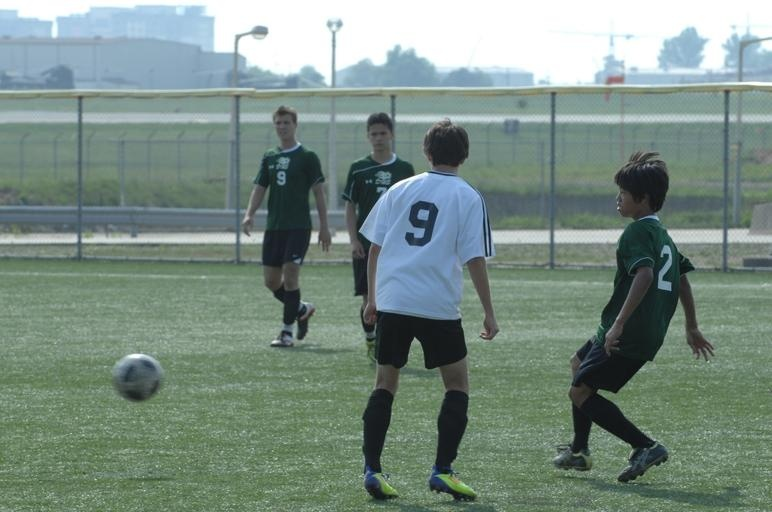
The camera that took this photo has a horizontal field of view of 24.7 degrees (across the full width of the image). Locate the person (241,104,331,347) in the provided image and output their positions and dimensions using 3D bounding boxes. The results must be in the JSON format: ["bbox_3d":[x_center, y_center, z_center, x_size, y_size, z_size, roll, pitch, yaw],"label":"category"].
[{"bbox_3d":[-1.648,-0.510,30.143,1.423,3.995,0.964,0,6,2],"label":"person"}]

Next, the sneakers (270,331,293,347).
[{"bbox_3d":[-1.714,1.419,29.974,0.401,0.227,0.231,5,-5,-24],"label":"sneakers"}]

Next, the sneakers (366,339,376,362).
[{"bbox_3d":[-0.234,1.559,29.329,0.144,0.352,0.268,4,-14,-15],"label":"sneakers"}]

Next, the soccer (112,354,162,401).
[{"bbox_3d":[-3.786,1.883,27.036,0.756,0.697,0.720,-9,12,-31],"label":"soccer"}]
